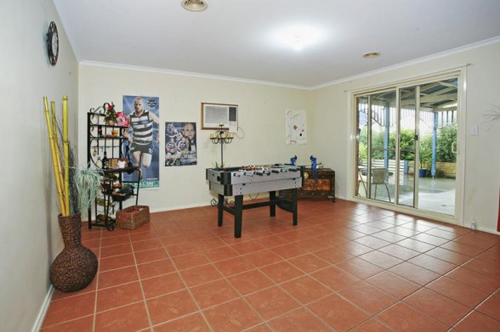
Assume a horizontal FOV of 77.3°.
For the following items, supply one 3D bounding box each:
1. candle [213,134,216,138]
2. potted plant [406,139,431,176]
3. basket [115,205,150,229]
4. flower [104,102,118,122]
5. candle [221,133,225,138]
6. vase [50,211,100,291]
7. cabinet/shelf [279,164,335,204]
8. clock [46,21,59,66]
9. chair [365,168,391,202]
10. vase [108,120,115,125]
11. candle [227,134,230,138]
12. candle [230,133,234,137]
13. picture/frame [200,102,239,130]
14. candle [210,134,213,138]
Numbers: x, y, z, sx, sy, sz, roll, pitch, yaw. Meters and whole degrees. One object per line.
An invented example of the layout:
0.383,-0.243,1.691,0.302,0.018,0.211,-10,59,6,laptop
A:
-0.779,-0.674,6.860,0.058,0.057,0.106,6,-2,5,candle
3.331,-0.135,6.117,0.469,0.679,0.409,-4,-9,39,potted plant
-2.124,0.911,5.672,0.395,0.321,0.537,2,8,15,basket
-2.584,-0.999,5.743,0.204,0.364,0.516,-4,9,-24,flower
-0.602,-0.667,6.816,0.068,0.091,0.094,-4,-4,45,candle
-2.144,1.042,3.752,0.511,0.962,0.224,-6,11,-33,vase
1.541,0.427,7.402,1.259,0.804,0.838,0,-2,3,cabinet/shelf
-2.496,-1.560,3.921,0.083,0.588,0.548,-4,9,-24,clock
2.836,0.400,7.010,0.481,0.716,0.503,-4,5,-11,chair
-2.497,-0.772,5.603,0.085,0.073,0.105,-2,-4,31,vase
-0.465,-0.667,6.875,0.069,0.068,0.125,0,-3,-9,candle
-0.406,-0.690,6.887,0.106,0.076,0.105,0,-1,-17,candle
-0.729,-1.121,6.933,0.716,0.479,0.054,0,1,-29,picture/frame
-0.852,-0.664,6.817,0.075,0.073,0.078,1,-6,-9,candle
